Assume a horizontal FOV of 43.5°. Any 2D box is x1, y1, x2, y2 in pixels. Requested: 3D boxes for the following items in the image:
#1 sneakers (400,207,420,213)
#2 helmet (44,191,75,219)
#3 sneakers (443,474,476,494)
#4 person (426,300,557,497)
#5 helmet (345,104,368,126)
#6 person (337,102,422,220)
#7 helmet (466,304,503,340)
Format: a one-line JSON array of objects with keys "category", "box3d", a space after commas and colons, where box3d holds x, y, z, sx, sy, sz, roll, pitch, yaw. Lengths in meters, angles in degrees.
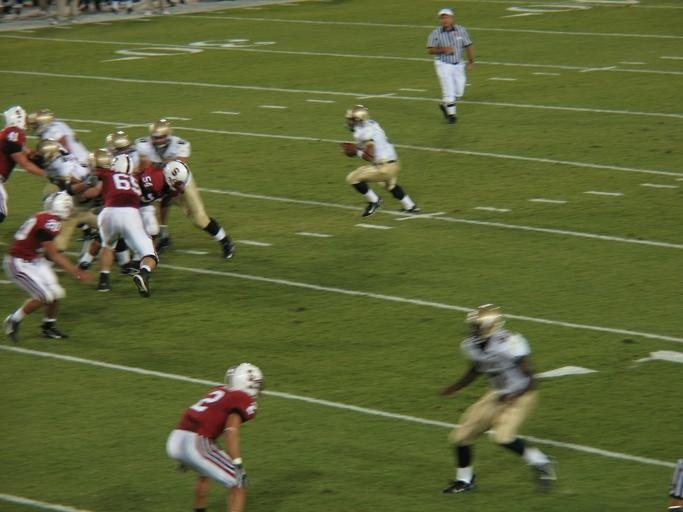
[{"category": "sneakers", "box3d": [0.800, -0.556, 10.322, 0.234, 0.054, 0.070, 9, 19, 29]}, {"category": "helmet", "box3d": [-2.376, -0.419, 7.199, 0.225, 0.230, 0.259, -11, 13, -15]}, {"category": "sneakers", "box3d": [0.745, 1.359, 5.097, 0.285, 0.065, 0.060, -4, 39, -12]}, {"category": "person", "box3d": [0.863, 0.845, 5.074, 0.653, 1.112, 0.430, -8, 16, 4]}, {"category": "helmet", "box3d": [0.175, -1.635, 10.029, 0.244, 0.243, 0.328, -7, 12, 1]}, {"category": "person", "box3d": [0.415, -1.111, 10.097, 0.779, 1.342, 0.357, -10, 17, -2]}, {"category": "helmet", "box3d": [0.850, 0.384, 5.081, 0.180, 0.175, 0.285, -4, 11, 11]}]
